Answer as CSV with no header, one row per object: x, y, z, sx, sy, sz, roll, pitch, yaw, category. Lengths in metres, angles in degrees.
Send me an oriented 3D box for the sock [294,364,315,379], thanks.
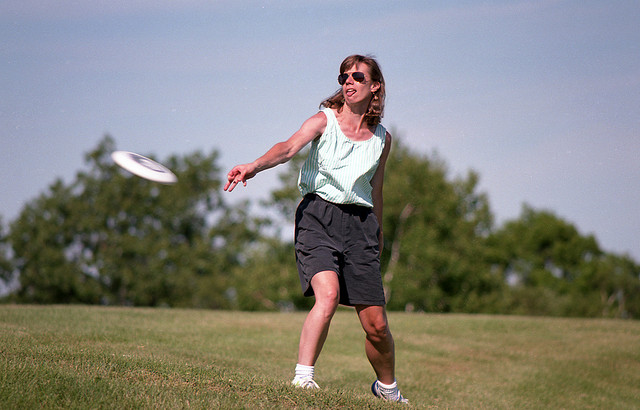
-0.150,1.751,9.778,0.158,0.133,0.136,0,-3,7,sock

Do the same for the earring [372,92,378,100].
0.604,-1.177,10.130,0.054,0.075,0.019,7,0,2,earring
